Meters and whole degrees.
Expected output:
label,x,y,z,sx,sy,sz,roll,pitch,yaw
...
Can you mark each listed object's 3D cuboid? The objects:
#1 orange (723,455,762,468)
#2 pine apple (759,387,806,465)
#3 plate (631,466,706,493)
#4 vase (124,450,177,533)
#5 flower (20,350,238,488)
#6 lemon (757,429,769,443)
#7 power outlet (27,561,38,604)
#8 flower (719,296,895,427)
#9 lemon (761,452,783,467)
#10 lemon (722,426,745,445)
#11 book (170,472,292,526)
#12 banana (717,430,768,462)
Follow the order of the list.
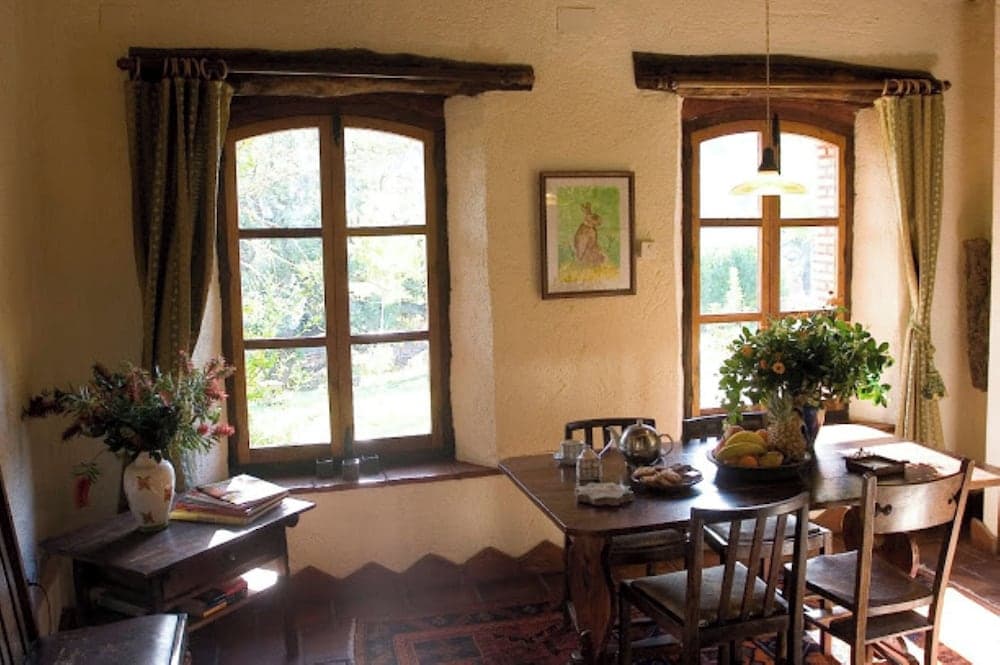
label,x,y,z,sx,sy,sz,roll,pitch,yaw
orange,1.214,0.650,4.082,0.095,0.052,0.079,-1,-5,21
pine apple,1.451,0.484,4.200,0.165,0.352,0.223,1,7,-13
plate,0.822,0.727,4.030,0.354,0.094,0.244,-1,5,9
vase,-1.700,0.765,4.045,0.221,0.388,0.196,13,9,40
flower,-1.934,0.341,4.211,0.698,0.737,0.887,8,7,33
lemon,1.370,0.548,4.278,0.060,0.058,0.059,3,27,16
power outlet,-2.307,1.245,4.055,0.044,0.175,0.170,3,-16,-21
flower,1.556,0.171,4.189,0.828,0.516,0.298,0,6,18
lemon,1.343,0.634,4.052,0.090,0.068,0.066,-2,-8,-1
lemon,1.216,0.532,4.297,0.103,0.033,0.094,-14,-16,-46
book,-1.445,0.837,4.228,0.491,0.169,0.523,4,7,27
banana,1.222,0.576,4.142,0.236,0.077,0.129,-18,16,19
